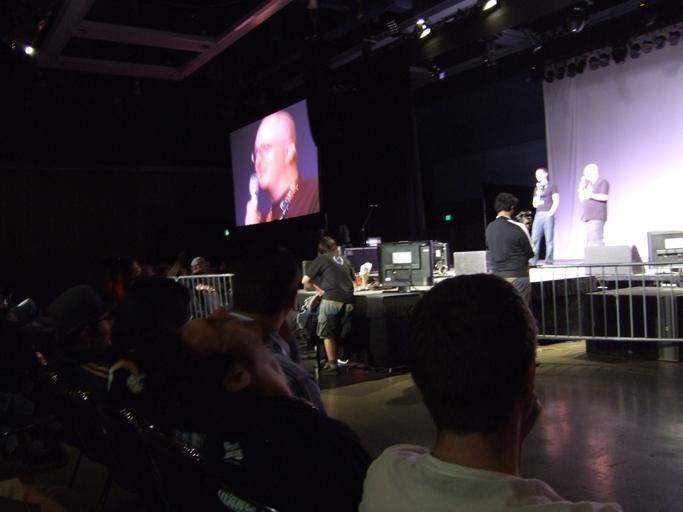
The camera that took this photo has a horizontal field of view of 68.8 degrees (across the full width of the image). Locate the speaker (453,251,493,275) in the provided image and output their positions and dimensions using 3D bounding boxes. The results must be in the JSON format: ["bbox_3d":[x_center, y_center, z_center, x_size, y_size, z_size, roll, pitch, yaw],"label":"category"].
[{"bbox_3d":[1.693,0.085,6.385,0.155,0.233,0.305,-6,2,-15],"label":"speaker"}]

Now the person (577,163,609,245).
[{"bbox_3d":[4.356,-0.887,8.525,0.375,1.223,0.744,-2,1,13],"label":"person"}]

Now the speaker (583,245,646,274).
[{"bbox_3d":[3.703,0.046,6.794,0.636,0.448,0.656,1,1,34],"label":"speaker"}]

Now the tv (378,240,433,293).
[{"bbox_3d":[0.832,0.132,6.432,0.845,0.904,0.478,-3,-6,26],"label":"tv"}]

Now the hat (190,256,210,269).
[{"bbox_3d":[-2.082,0.085,7.319,0.373,0.145,0.417,1,9,-3],"label":"hat"}]
